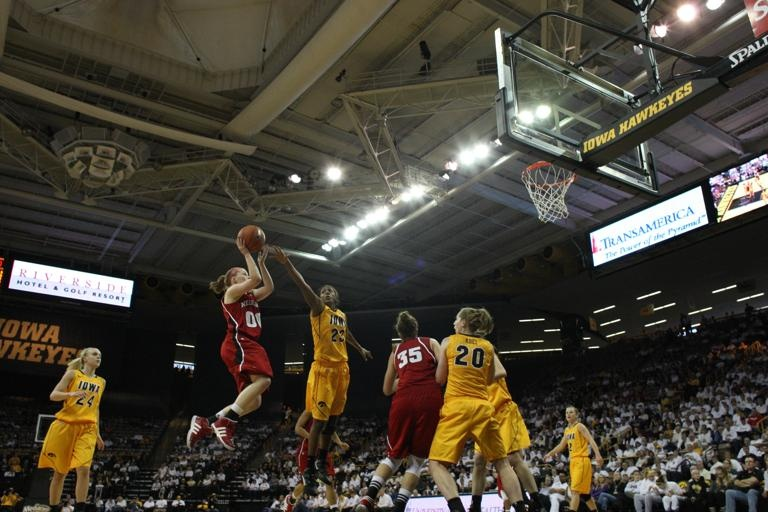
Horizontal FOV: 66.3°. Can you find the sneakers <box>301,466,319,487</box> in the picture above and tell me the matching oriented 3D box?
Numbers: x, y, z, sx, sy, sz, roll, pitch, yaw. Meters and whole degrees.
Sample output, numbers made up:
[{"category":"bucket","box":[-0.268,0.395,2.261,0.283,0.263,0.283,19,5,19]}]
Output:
[{"category":"sneakers","box":[-1.515,4.508,11.893,0.289,0.417,0.293,4,-30,-6]}]
